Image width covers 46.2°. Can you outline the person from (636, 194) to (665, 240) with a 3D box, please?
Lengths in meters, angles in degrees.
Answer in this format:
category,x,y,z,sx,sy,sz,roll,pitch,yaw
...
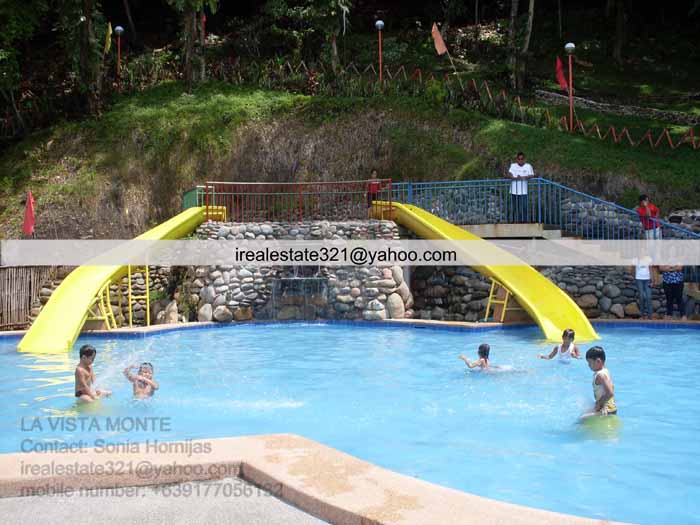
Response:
category,x,y,z,sx,sy,sz,roll,pitch,yaw
person,8.003,-1.246,21.942,0.643,1.235,1.002,2,13,21

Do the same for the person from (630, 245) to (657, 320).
category,x,y,z,sx,sy,sz,roll,pitch,yaw
person,7.525,0.583,21.138,0.480,1.730,0.474,1,12,19

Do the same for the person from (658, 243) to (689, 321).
category,x,y,z,sx,sy,sz,roll,pitch,yaw
person,8.351,0.689,21.221,0.671,1.510,0.934,2,13,23

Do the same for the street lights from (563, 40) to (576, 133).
category,x,y,z,sx,sy,sz,roll,pitch,yaw
street lights,8.835,-7.109,32.891,0.438,3.359,0.490,0,6,29

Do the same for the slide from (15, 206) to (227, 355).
category,x,y,z,sx,sy,sz,roll,pitch,yaw
slide,-6.186,0.611,22.178,1.076,1.439,7.845,5,20,12

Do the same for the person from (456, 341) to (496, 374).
category,x,y,z,sx,sy,sz,roll,pitch,yaw
person,2.653,1.949,17.112,0.620,0.675,1.148,-2,13,5

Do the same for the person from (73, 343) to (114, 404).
category,x,y,z,sx,sy,sz,roll,pitch,yaw
person,-4.819,2.108,15.306,0.548,1.109,0.654,3,6,-12

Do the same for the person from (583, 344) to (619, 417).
category,x,y,z,sx,sy,sz,roll,pitch,yaw
person,4.387,2.104,14.369,0.566,1.328,0.312,-3,11,-3
